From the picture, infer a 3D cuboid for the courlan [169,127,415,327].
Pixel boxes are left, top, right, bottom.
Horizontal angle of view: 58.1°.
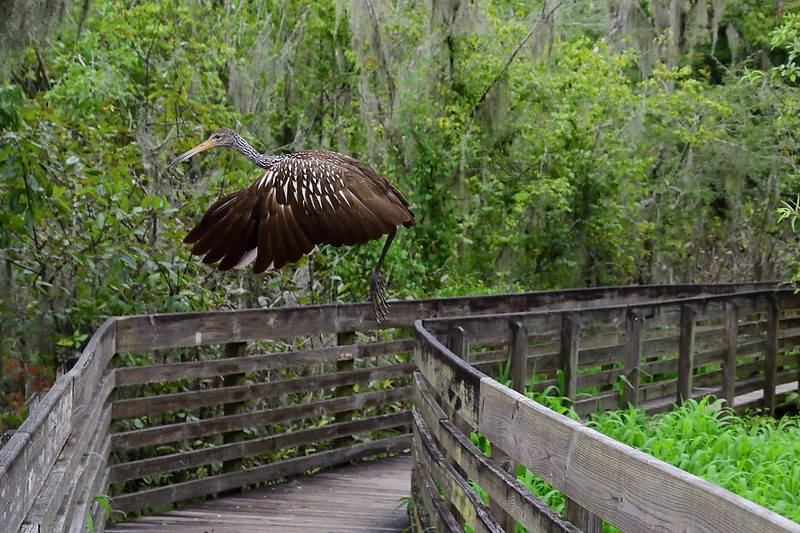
[{"bbox_3d":[-0.951,-0.515,6.566,1.926,1.216,1.609,16,9,14],"label":"courlan"}]
